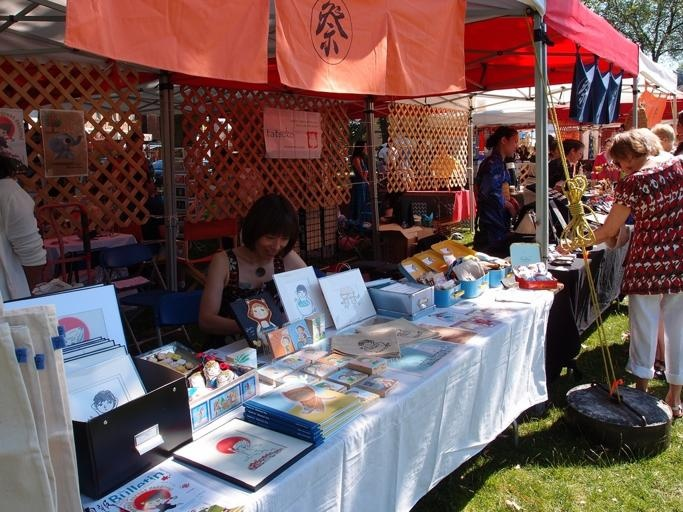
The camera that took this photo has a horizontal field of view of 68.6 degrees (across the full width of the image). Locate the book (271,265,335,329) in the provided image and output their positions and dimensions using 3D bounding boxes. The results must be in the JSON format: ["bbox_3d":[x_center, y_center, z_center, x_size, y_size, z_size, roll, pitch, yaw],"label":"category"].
[{"bbox_3d":[-0.173,0.199,2.267,0.026,0.221,0.242,-19,-1,41],"label":"book"}]

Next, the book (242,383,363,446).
[{"bbox_3d":[-0.103,0.484,1.602,0.187,0.047,0.192,13,21,38],"label":"book"}]

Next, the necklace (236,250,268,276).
[{"bbox_3d":[-0.463,0.036,2.566,0.096,0.096,0.058,15,-38,-30],"label":"necklace"}]

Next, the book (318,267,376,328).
[{"bbox_3d":[0.019,0.213,2.417,0.275,0.256,0.064,-18,-4,-44],"label":"book"}]

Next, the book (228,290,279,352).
[{"bbox_3d":[-0.359,0.275,2.088,0.211,0.204,0.047,-12,-11,-45],"label":"book"}]

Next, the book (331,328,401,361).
[{"bbox_3d":[0.099,0.381,2.097,0.278,0.052,0.262,-4,10,1],"label":"book"}]
